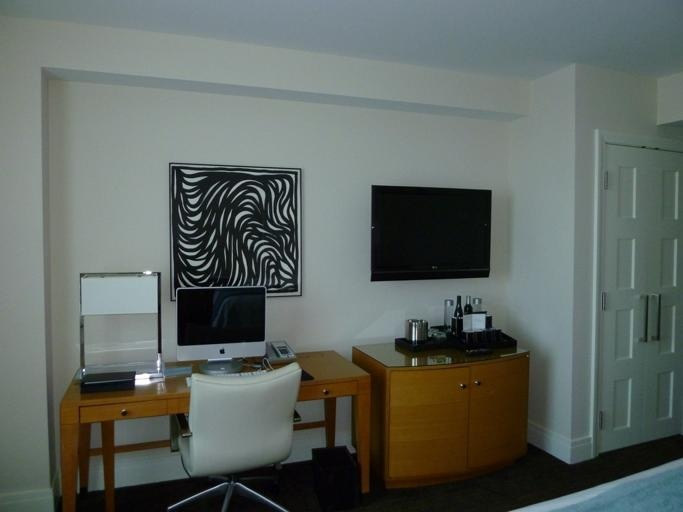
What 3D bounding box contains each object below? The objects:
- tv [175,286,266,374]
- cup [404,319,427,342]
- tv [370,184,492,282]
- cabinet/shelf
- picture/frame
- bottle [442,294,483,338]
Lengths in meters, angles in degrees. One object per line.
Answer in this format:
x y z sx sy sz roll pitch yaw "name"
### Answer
-0.824 0.489 4.181 0.859 0.870 0.493 0 -2 -13 "tv"
0.607 0.591 4.488 0.179 0.172 0.251 -1 2 6 "cup"
0.695 -0.198 4.541 0.748 0.581 0.077 -1 2 -19 "tv"
0.707 0.918 4.469 1.364 1.056 0.847 -1 1 -19 "cabinet/shelf"
-0.850 -0.202 4.185 0.984 1.047 0.043 0 4 -20 "picture/frame"
1.073 0.484 4.589 0.406 0.426 0.282 0 -1 -27 "bottle"
